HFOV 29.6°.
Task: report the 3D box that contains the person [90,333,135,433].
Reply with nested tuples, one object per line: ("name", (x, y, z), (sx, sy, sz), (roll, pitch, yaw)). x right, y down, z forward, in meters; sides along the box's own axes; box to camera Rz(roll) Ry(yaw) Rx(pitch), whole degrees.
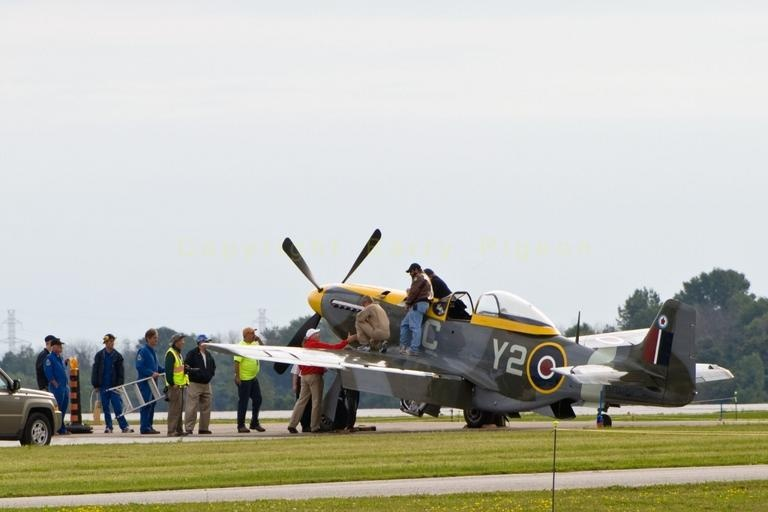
("person", (-7.057, 3.341, 37.885), (1.113, 2.596, 0.596), (-1, -2, 9))

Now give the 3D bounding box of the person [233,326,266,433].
("person", (-3.451, 3.205, 37.604), (1.073, 2.634, 0.677), (0, -2, -41))

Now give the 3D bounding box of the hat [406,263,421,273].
("hat", (0.749, 0.314, 36.517), (0.327, 0.189, 0.202), (-2, 4, 2))

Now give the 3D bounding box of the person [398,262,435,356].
("person", (0.828, 1.388, 36.675), (0.699, 2.219, 0.802), (2, -1, 19))

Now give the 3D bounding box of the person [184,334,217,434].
("person", (-4.603, 3.176, 36.108), (1.120, 2.395, 0.677), (3, -6, -40))

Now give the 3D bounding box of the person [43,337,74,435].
("person", (-8.449, 3.409, 37.661), (0.695, 2.549, 0.912), (-4, -2, 14))

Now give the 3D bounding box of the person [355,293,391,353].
("person", (-0.250, 1.728, 37.351), (0.662, 1.546, 0.709), (3, 0, 28))
